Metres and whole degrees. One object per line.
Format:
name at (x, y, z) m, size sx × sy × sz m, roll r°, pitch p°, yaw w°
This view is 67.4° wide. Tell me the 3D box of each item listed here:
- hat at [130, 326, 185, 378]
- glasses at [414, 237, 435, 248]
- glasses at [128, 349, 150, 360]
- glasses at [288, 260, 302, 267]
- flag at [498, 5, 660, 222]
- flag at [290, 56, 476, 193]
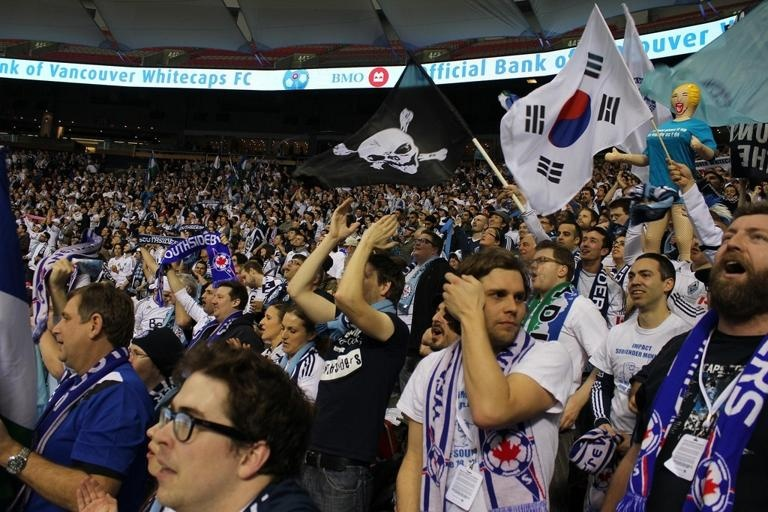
hat at (-2.083, 0.907, 5.302) m, size 0.431 × 0.396 × 0.275 m, roll -1°, pitch 0°, yaw -23°
glasses at (0.537, -0.183, 7.666) m, size 0.244 × 0.089 × 0.083 m, roll -1°, pitch -1°, yaw 24°
glasses at (-2.216, 0.897, 5.238) m, size 0.189 × 0.111 × 0.197 m, roll 6°, pitch -9°, yaw -24°
glasses at (-1.383, 0.119, 9.021) m, size 0.191 × 0.086 × 0.388 m, roll -1°, pitch -1°, yaw -10°
flag at (2.038, -1.627, 6.353) m, size 1.453 × 2.393 × 0.525 m, roll -1°, pitch 0°, yaw 7°
flag at (0.116, -1.422, 6.261) m, size 1.461 × 0.496 × 1.967 m, roll -48°, pitch -22°, yaw 14°
